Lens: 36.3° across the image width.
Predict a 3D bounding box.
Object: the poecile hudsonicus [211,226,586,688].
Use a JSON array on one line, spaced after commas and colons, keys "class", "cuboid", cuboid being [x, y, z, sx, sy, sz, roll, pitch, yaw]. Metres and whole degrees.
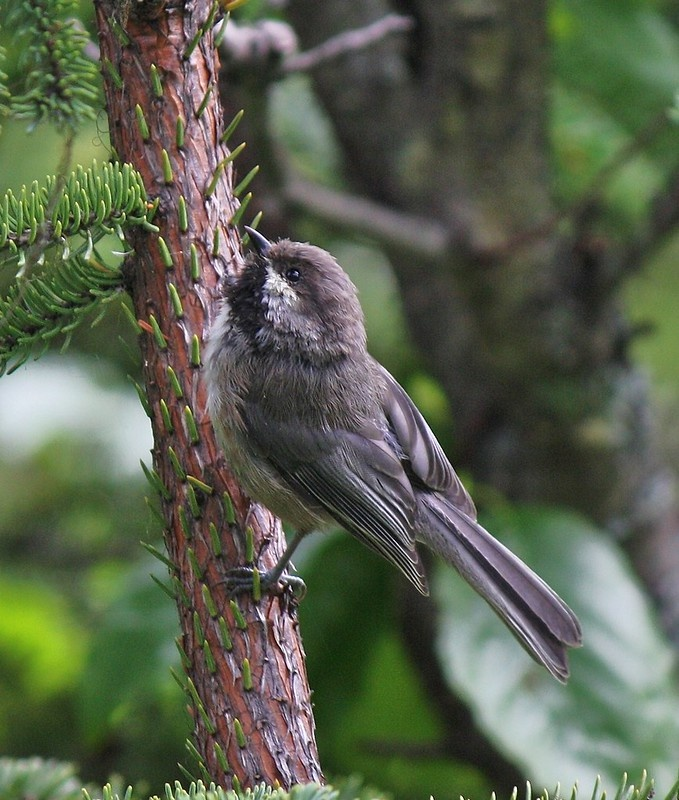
[{"class": "poecile hudsonicus", "cuboid": [0.197, 0.222, 3.470, 1.424, 1.176, 0.831, 22, 16, 16]}]
